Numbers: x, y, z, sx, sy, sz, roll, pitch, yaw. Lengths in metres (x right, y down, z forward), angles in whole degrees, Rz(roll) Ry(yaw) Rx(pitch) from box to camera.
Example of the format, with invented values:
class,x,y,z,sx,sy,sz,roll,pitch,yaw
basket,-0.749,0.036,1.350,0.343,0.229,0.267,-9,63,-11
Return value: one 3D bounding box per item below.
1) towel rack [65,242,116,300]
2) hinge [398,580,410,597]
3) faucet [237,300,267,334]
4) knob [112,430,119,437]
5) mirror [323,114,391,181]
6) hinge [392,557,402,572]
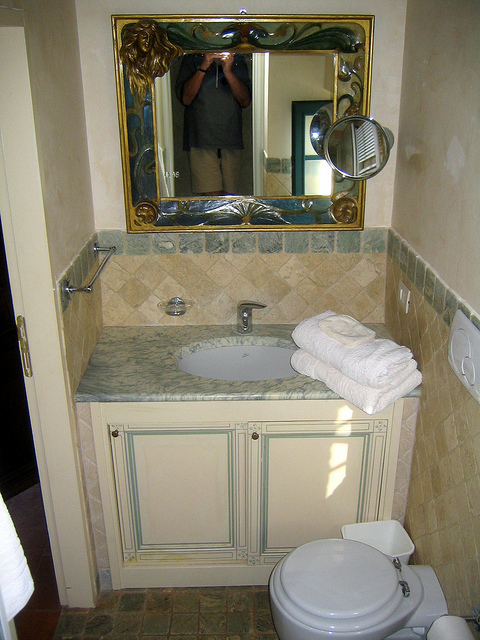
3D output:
class,x,y,z,sx,sy,sz,roll,pitch,yaw
towel rack,-0.521,-0.180,1.732,0.071,0.084,0.231,5,40,8
hinge,0.426,0.694,1.291,0.032,0.045,0.016,-6,42,-8
faucet,0.043,-0.024,1.971,0.110,0.125,0.137,-1,23,2
knob,-0.391,0.353,1.561,0.018,0.020,0.006,1,7,-12
mirror,0.395,-0.580,1.683,0.201,0.201,0.057,6,23,19
hinge,0.436,0.675,1.391,0.012,0.027,0.032,-11,-5,-12
